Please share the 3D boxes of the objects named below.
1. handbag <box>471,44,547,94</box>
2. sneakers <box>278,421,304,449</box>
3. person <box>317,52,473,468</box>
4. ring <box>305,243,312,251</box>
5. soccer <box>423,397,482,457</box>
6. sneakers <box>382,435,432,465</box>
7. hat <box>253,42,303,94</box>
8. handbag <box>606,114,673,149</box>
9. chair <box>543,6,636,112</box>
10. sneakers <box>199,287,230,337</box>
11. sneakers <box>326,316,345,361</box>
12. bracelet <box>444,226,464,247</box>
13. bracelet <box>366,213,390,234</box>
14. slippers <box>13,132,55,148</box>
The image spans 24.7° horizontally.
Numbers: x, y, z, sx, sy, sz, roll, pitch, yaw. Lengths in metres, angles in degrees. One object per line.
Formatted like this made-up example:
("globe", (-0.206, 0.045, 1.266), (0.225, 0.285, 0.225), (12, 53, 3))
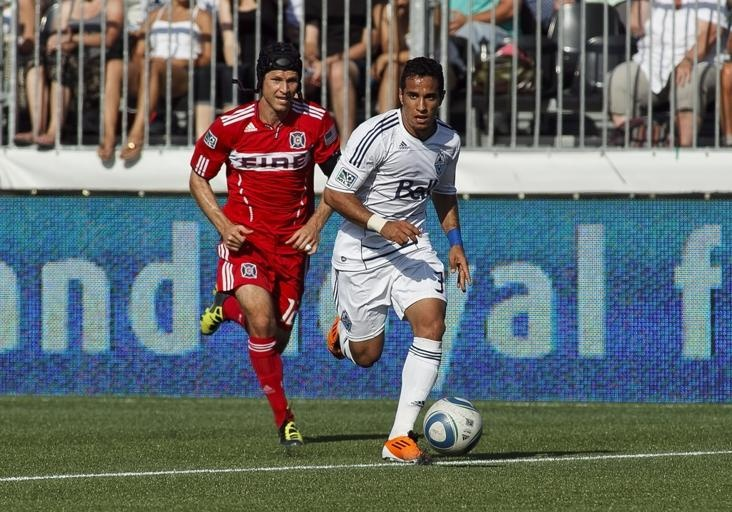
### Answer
("handbag", (1.130, -1.546, 13.554), (0.497, 0.332, 0.171), (1, 26, 30))
("sneakers", (-0.518, 1.233, 11.537), (0.168, 0.184, 0.305), (0, 13, -3))
("person", (0.267, -0.033, 11.191), (0.949, 2.558, 1.158), (-6, 13, -26))
("ring", (-0.395, -0.054, 11.343), (0.036, 0.044, 0.040), (2, -10, 0))
("soccer", (0.571, 1.115, 11.051), (0.315, 0.373, 0.349), (17, -12, 2))
("sneakers", (0.255, 1.276, 10.952), (0.361, 0.228, 0.142), (-3, -7, 27))
("hat", (-0.607, -1.291, 11.541), (0.262, 0.333, 0.321), (0, 1, -8))
("handbag", (2.121, -0.957, 13.020), (0.476, 0.229, 0.242), (2, 13, 7))
("chair", (1.785, -1.634, 13.554), (0.561, 0.930, 0.841), (1, 6, 7))
("sneakers", (-1.087, 0.394, 11.988), (0.182, 0.150, 0.421), (27, -45, -15))
("sneakers", (-0.226, 0.604, 11.954), (0.084, 0.278, 0.148), (-1, 10, -11))
("bracelet", (0.584, -0.125, 11.402), (0.130, 0.201, 0.108), (-2, 2, 25))
("bracelet", (0.067, -0.213, 10.961), (0.107, 0.123, 0.046), (31, -10, 0))
("slippers", (-2.600, -0.899, 13.063), (0.329, 0.165, 0.129), (1, 4, 4))
